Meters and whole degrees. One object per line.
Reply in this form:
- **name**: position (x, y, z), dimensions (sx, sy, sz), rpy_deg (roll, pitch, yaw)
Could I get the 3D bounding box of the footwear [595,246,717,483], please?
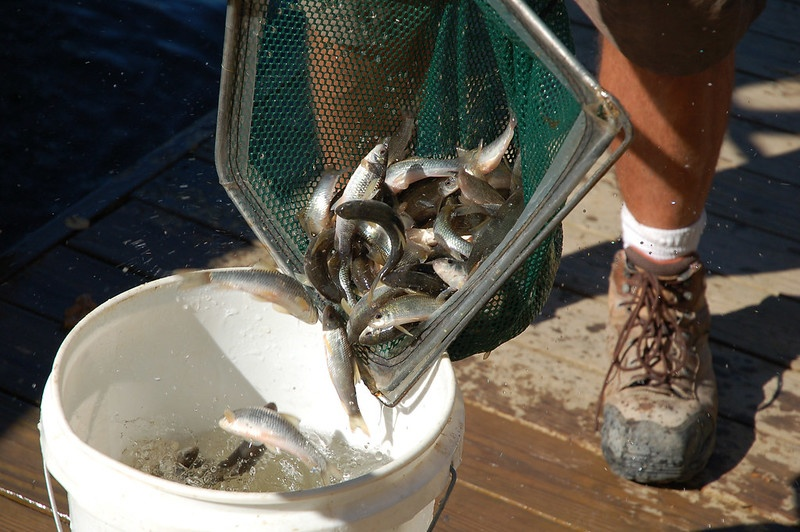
- **footwear**: position (0.913, 0.258, 3.889), dimensions (0.285, 0.407, 0.978), rpy_deg (0, 55, 14)
